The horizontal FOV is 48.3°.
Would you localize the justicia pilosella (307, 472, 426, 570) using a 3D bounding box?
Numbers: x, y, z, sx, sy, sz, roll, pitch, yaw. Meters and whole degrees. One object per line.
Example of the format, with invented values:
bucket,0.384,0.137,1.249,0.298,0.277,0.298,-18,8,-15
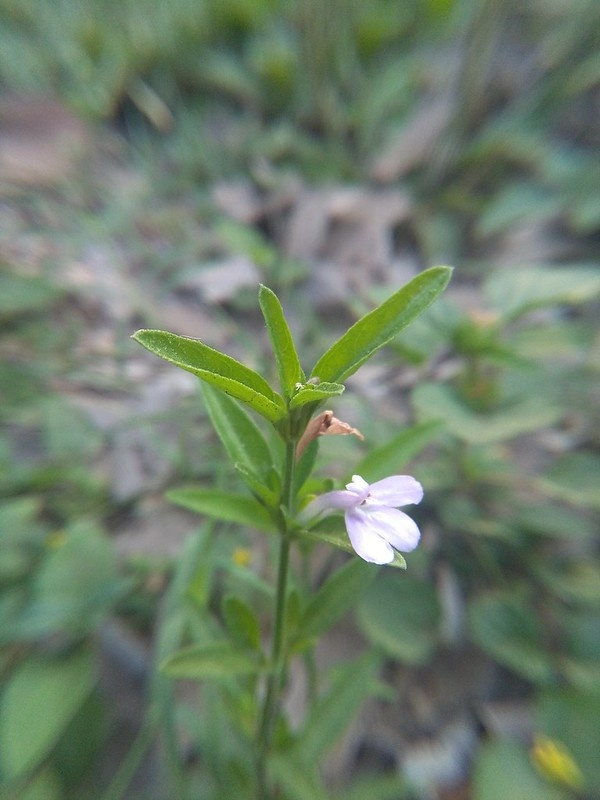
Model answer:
justicia pilosella,0.060,0.094,0.518,0.081,0.036,0.057,21,63,29
